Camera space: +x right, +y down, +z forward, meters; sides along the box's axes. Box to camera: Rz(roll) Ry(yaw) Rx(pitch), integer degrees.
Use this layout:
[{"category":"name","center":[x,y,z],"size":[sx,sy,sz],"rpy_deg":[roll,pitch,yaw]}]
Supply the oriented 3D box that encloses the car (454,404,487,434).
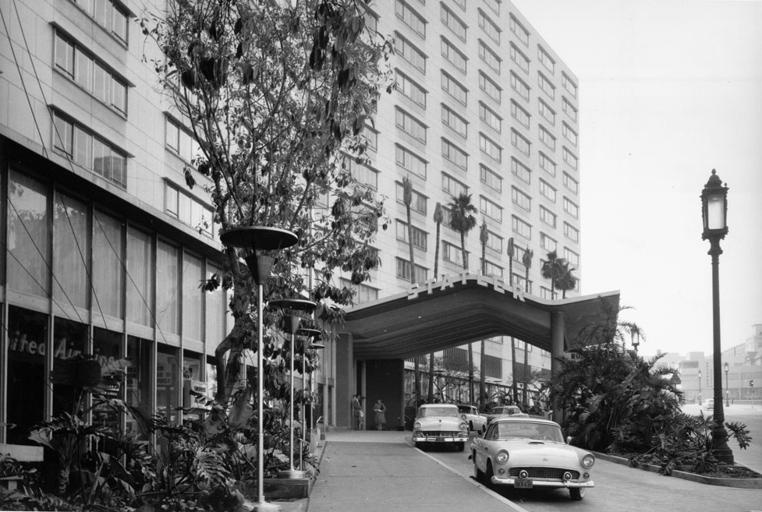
[{"category":"car","center":[4.631,8.448,52.721],"size":[1.368,1.355,2.578],"rpy_deg":[0,-4,21]}]

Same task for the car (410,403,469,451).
[{"category":"car","center":[2.454,7.012,41.952],"size":[2.179,2.299,2.694],"rpy_deg":[1,-19,1]}]
